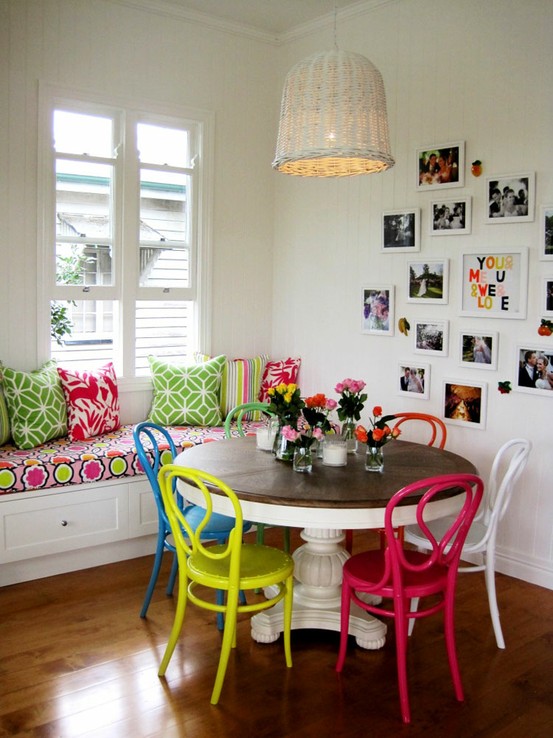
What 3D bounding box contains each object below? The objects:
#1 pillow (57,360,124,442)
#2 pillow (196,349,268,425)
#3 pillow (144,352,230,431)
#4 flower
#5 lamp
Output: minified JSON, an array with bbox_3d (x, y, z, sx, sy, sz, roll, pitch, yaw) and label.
[{"bbox_3d":[-1.017,0.170,3.221,0.156,0.397,0.408,-11,-4,26],"label":"pillow"},{"bbox_3d":[-0.286,0.123,3.682,0.469,0.517,0.199,1,-6,-16],"label":"pillow"},{"bbox_3d":[-0.542,0.145,3.570,0.470,0.447,0.164,0,-5,-6],"label":"pillow"},{"bbox_3d":[0.144,0.150,2.114,0.309,0.208,0.279,-3,9,4],"label":"flower"},{"bbox_3d":[0.203,-0.887,2.100,0.410,0.421,0.370,1,0,9],"label":"lamp"}]
